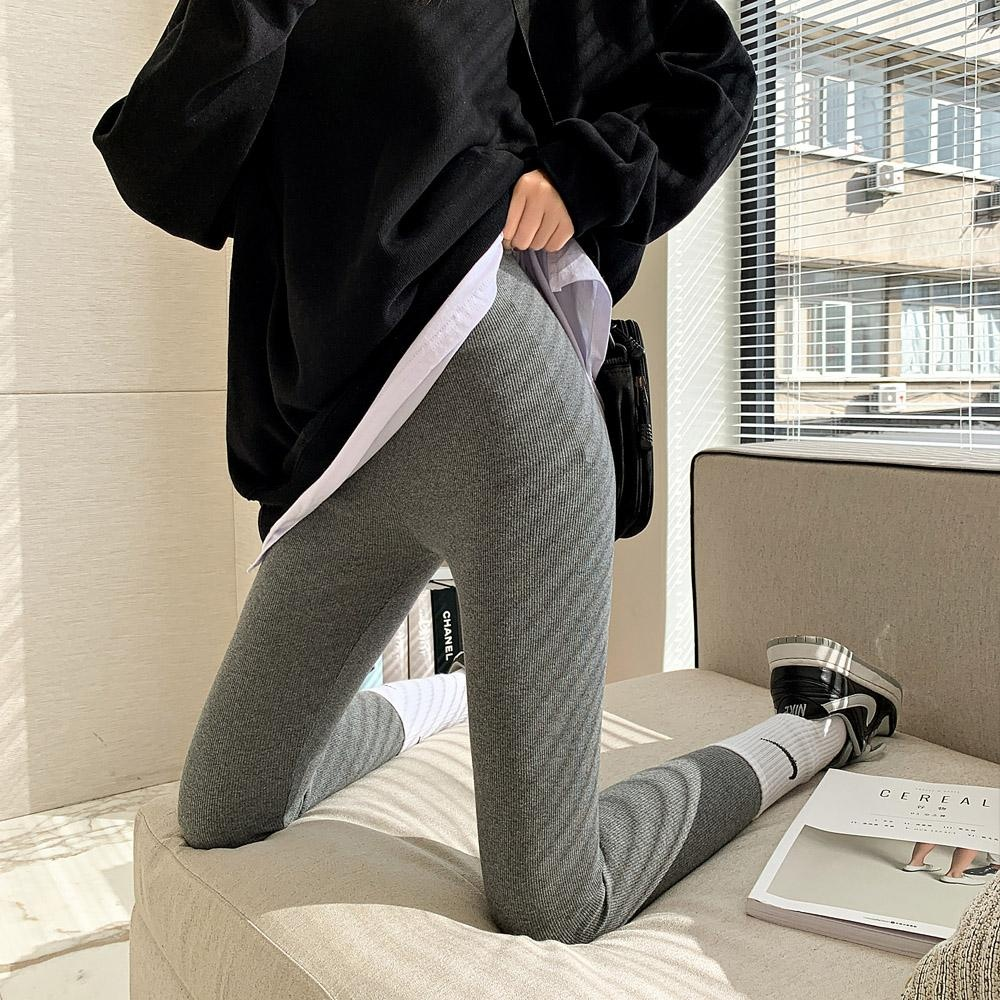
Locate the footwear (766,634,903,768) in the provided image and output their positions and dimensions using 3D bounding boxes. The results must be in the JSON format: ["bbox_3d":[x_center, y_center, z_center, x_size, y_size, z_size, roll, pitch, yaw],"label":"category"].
[{"bbox_3d":[0.528,0.307,1.576,0.135,0.165,0.378,10,-20,24],"label":"footwear"}]

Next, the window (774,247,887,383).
[{"bbox_3d":[0.718,-0.353,2.191,0.248,0.201,0.193,4,6,44],"label":"window"}]
